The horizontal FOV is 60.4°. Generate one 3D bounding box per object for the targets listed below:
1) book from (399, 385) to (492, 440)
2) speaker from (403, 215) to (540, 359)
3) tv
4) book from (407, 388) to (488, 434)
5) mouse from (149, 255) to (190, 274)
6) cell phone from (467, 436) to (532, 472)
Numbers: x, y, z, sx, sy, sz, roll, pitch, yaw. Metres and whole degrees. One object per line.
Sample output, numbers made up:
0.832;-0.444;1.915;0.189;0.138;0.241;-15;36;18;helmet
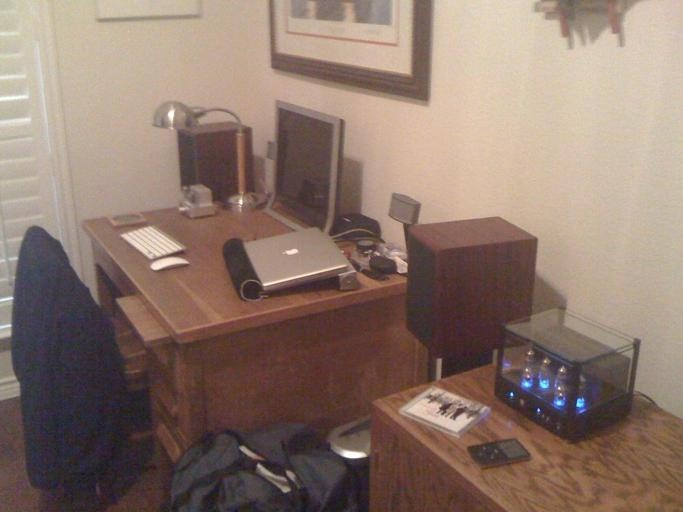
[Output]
0.269;0.411;1.559;0.116;0.014;0.124;18;29;41;book
0.383;0.095;1.792;0.361;0.365;0.242;-9;23;-15;speaker
-0.151;-0.354;2.419;0.163;0.496;0.518;-7;32;-35;tv
0.272;0.411;1.557;0.114;0.015;0.106;-16;24;-34;book
-0.639;0.023;2.168;0.107;0.029;0.066;-10;26;-32;mouse
0.383;0.480;1.425;0.142;0.022;0.064;-6;23;-10;cell phone
